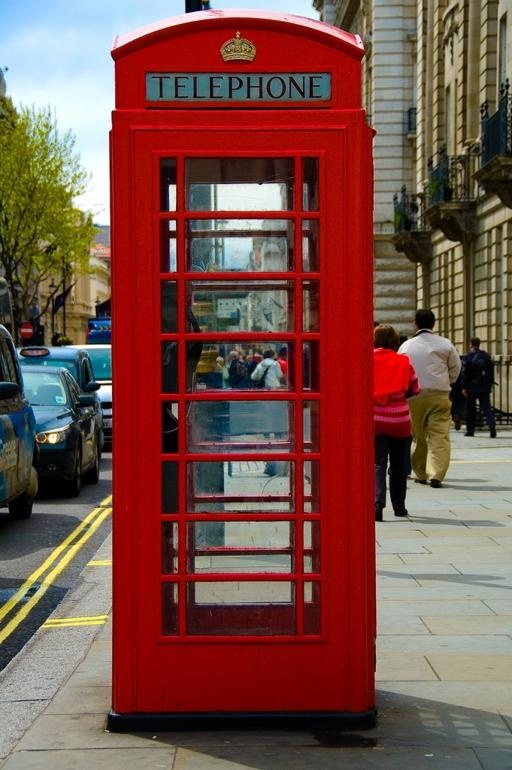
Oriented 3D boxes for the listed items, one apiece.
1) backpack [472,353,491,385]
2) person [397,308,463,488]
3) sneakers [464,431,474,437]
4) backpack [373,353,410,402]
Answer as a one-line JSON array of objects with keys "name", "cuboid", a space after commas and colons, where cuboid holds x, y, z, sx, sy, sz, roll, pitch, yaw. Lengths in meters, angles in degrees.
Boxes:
[{"name": "backpack", "cuboid": [4.147, -0.317, 18.661, 0.477, 0.688, 0.234, -6, 6, -31]}, {"name": "person", "cuboid": [1.725, 0.109, 10.285, 0.537, 1.805, 0.545, -1, 0, -42]}, {"name": "sneakers", "cuboid": [3.990, 0.911, 19.175, 0.066, 0.143, 0.173, -6, 13, -39]}, {"name": "backpack", "cuboid": [1.041, -0.060, 7.939, 0.338, 0.379, 0.206, 0, -3, 8]}]
